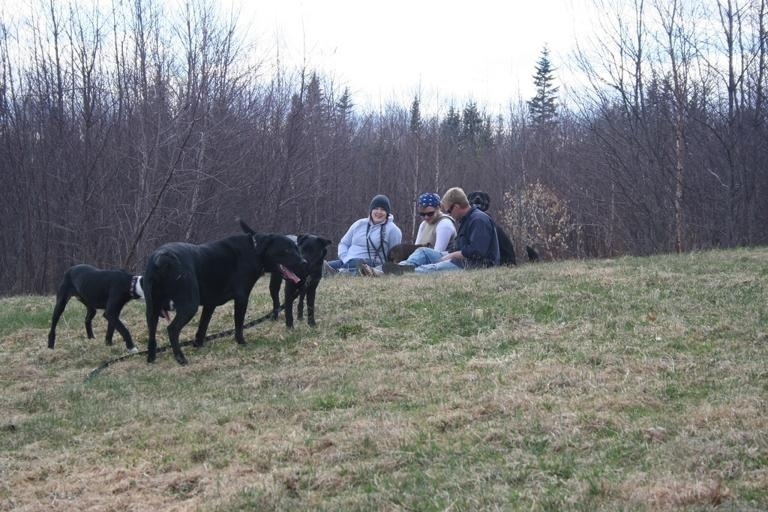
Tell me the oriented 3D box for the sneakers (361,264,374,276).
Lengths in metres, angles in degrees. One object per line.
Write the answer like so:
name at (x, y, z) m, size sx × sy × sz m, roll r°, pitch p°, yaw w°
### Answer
sneakers at (-0.480, 0.388, 22.685) m, size 0.157 × 0.223 × 0.498 m, roll -3°, pitch -19°, yaw -8°

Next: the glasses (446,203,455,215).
glasses at (1.717, -1.222, 22.409) m, size 0.064 × 0.233 × 0.209 m, roll 22°, pitch -13°, yaw -16°

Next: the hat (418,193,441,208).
hat at (1.170, -1.438, 23.001) m, size 0.553 × 0.535 × 0.477 m, roll -1°, pitch 13°, yaw 9°
